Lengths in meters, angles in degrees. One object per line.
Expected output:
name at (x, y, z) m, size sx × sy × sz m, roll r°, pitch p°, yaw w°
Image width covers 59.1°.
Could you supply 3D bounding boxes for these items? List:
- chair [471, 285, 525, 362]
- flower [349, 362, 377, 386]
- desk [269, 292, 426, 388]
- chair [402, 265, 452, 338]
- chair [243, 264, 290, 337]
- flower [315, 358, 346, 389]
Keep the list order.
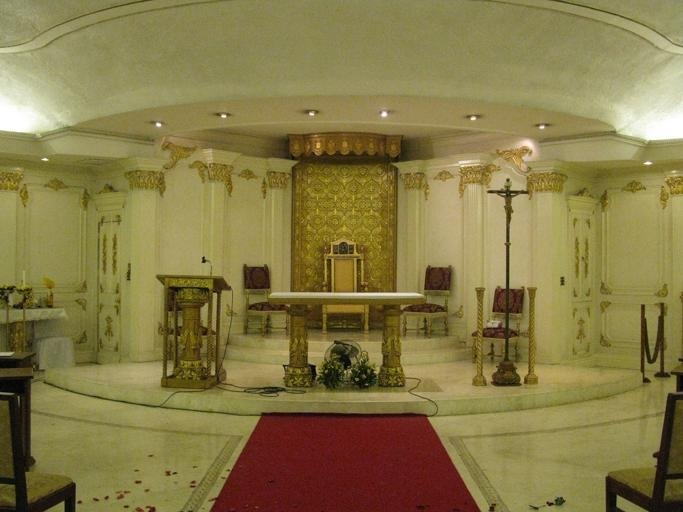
chair at (2.705, 1.198, 10.330) m, size 0.810 × 1.218 × 0.834 m, roll 4°, pitch 16°, yaw 35°
flower at (0.296, 1.573, 8.016) m, size 0.347 × 0.283 × 0.314 m, roll 2°, pitch -14°, yaw -4°
desk at (0.053, 1.166, 8.193) m, size 2.034 × 1.062 × 0.647 m, roll 0°, pitch -7°, yaw -5°
chair at (1.599, 0.841, 11.246) m, size 1.013 × 1.224 × 0.881 m, roll -3°, pitch 2°, yaw -10°
chair at (-1.376, 0.827, 11.347) m, size 0.886 × 1.210 × 0.864 m, roll 1°, pitch 2°, yaw -31°
flower at (-0.134, 1.573, 8.002) m, size 0.368 × 0.362 × 0.380 m, roll -10°, pitch -14°, yaw 40°
